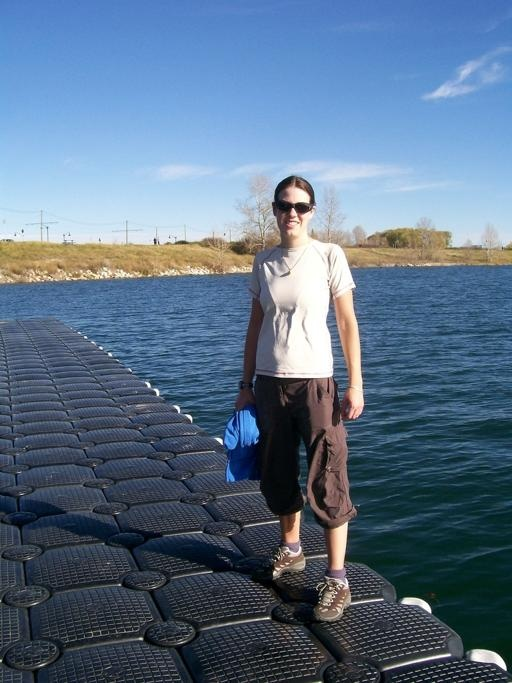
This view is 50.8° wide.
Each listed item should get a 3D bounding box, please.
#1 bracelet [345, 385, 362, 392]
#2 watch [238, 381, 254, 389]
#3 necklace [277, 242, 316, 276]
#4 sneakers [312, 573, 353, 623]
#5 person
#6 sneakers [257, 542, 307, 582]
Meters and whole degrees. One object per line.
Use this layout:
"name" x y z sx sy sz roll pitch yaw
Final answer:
"bracelet" 0.505 0.232 2.763 0.069 0.031 0.125 2 2 6
"watch" -0.061 0.253 3.082 0.058 0.045 0.056 5 -15 -23
"necklace" 0.211 -0.415 2.726 0.174 0.135 0.088 -19 -5 16
"sneakers" 0.352 1.224 2.550 0.108 0.116 0.245 -2 -9 16
"person" 0.237 0.224 2.840 0.411 2.169 0.795 0 3 -40
"sneakers" 0.158 1.213 3.043 0.357 0.156 0.114 -5 12 -29
